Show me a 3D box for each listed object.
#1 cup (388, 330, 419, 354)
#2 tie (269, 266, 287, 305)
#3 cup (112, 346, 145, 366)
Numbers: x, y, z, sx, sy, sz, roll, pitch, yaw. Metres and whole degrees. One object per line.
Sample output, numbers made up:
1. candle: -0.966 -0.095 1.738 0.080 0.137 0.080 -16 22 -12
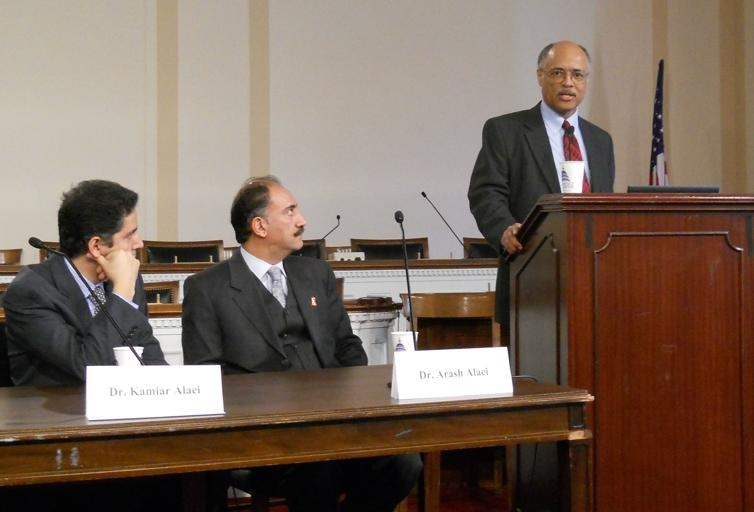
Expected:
1. cup: 0.083 0.309 2.816 0.074 0.063 0.073 2 -2 0
2. tie: -0.432 0.127 3.480 0.065 0.269 0.036 -10 42 -4
3. cup: -0.858 0.354 2.761 0.084 0.073 0.113 -5 1 -30
